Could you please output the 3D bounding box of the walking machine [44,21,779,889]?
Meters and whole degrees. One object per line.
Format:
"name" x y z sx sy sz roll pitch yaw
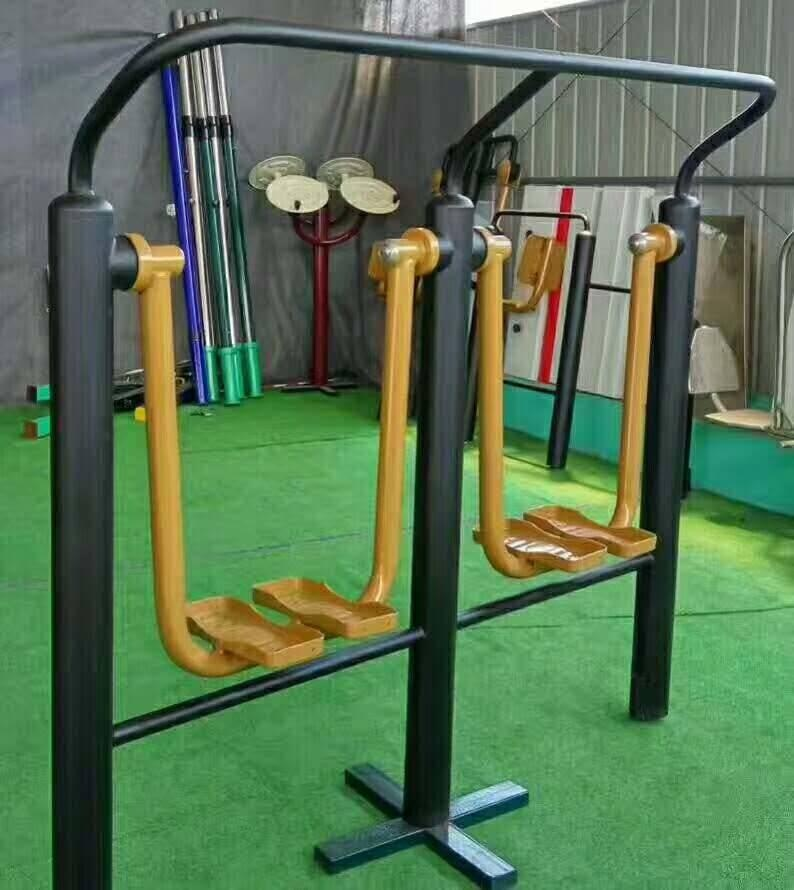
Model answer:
"walking machine" 0.021 0.020 0.735 0.598 0.713 0.132 -7 12 -41
